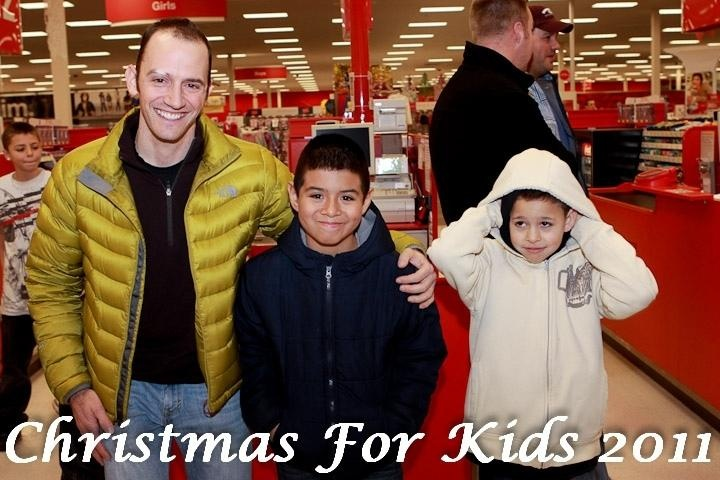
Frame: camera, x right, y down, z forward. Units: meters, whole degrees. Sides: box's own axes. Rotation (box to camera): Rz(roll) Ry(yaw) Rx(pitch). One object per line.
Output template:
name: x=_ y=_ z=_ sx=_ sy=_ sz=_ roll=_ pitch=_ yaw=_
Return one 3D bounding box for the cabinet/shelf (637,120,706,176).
cabinet/shelf: x=4.665 y=-1.362 z=8.611 sx=0.540 sy=0.836 sz=0.557 roll=-17 pitch=25 yaw=-21

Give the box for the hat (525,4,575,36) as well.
hat: x=1.151 y=-1.315 z=3.465 sx=0.266 sy=0.107 sz=0.174 roll=25 pitch=36 yaw=32
